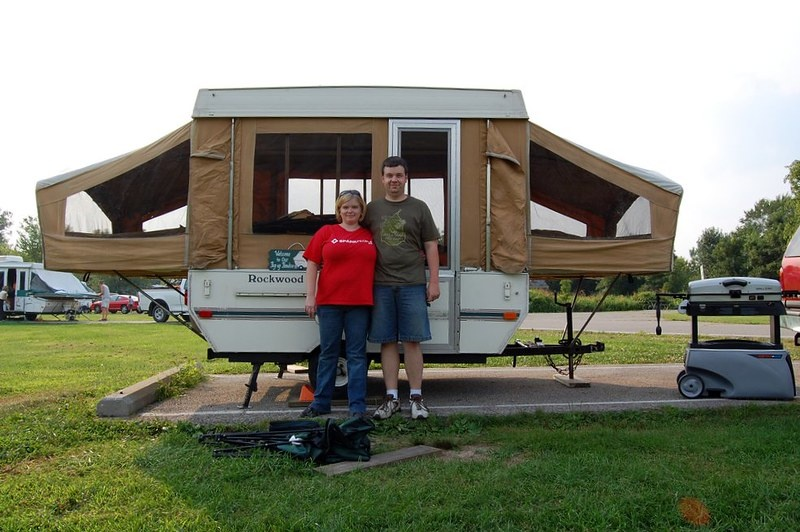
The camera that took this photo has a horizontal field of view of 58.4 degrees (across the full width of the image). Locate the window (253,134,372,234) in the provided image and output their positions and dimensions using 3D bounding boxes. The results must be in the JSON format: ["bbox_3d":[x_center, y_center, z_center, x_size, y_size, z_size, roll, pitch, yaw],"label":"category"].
[{"bbox_3d":[-1.101,-0.954,8.738,1.236,1.100,0.084,0,-2,1],"label":"window"}]

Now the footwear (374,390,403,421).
[{"bbox_3d":[-0.151,1.572,8.166,0.261,0.264,0.530,2,-1,6],"label":"footwear"}]

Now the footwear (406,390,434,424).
[{"bbox_3d":[0.228,1.640,8.282,0.253,0.281,0.599,-1,-4,-5],"label":"footwear"}]

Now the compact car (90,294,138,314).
[{"bbox_3d":[-16.929,2.302,43.247,3.164,1.074,1.398,1,-3,18],"label":"compact car"}]

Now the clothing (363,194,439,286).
[{"bbox_3d":[-0.037,-0.285,8.363,1.045,1.056,0.499,-1,1,14],"label":"clothing"}]

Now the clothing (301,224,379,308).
[{"bbox_3d":[-0.622,-0.045,8.203,0.967,0.961,0.547,3,-8,-11],"label":"clothing"}]

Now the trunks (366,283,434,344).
[{"bbox_3d":[0.060,0.538,8.424,0.971,0.931,0.572,0,-5,3],"label":"trunks"}]
